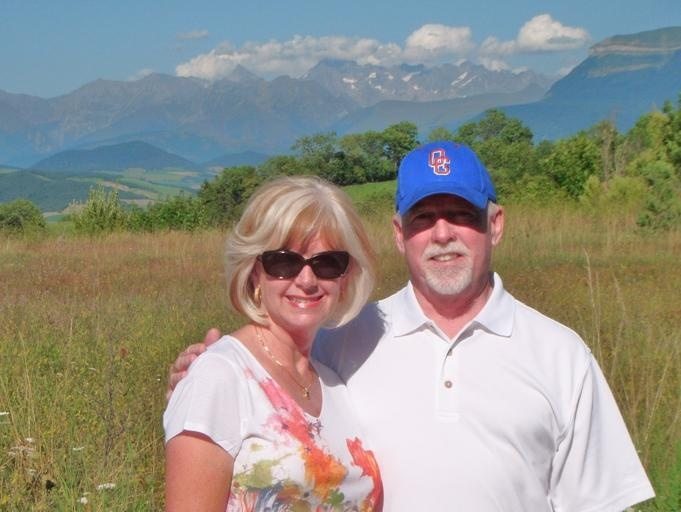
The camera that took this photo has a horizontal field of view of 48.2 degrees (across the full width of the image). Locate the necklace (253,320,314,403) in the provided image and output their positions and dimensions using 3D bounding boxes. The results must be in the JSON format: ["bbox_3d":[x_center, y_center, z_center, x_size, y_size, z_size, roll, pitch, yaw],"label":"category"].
[{"bbox_3d":[-0.444,0.878,6.164,0.159,0.654,0.359,-36,-19,23],"label":"necklace"}]
